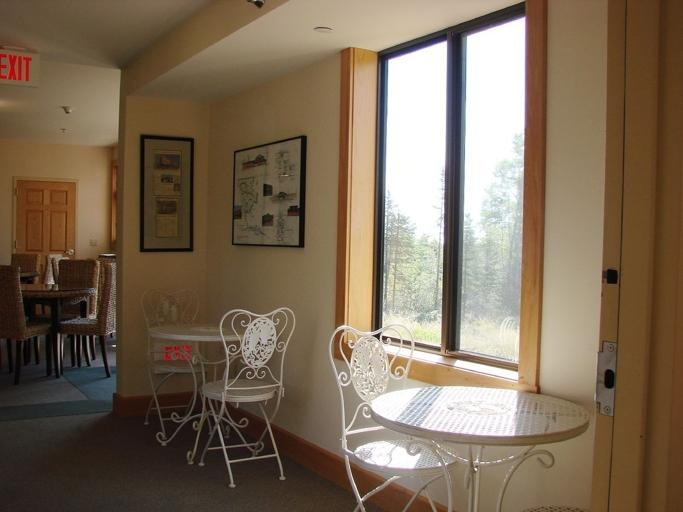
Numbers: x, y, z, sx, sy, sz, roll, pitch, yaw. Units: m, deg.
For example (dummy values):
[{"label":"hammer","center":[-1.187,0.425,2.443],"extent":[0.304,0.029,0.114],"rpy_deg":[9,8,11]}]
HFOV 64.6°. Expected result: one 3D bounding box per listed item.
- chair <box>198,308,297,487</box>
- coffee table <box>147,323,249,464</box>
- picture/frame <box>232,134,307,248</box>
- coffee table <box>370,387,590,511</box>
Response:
[{"label":"chair","center":[-0.692,0.960,3.789],"extent":[0.543,1.161,0.588],"rpy_deg":[-2,-10,22]},{"label":"coffee table","center":[-1.133,1.068,4.422],"extent":[0.746,0.915,0.789],"rpy_deg":[-10,-15,30]},{"label":"picture/frame","center":[-0.543,-0.506,4.177],"extent":[0.090,0.899,0.883],"rpy_deg":[0,1,-36]},{"label":"coffee table","center":[0.615,0.632,2.326],"extent":[0.664,0.529,0.675],"rpy_deg":[1,1,-34]}]
